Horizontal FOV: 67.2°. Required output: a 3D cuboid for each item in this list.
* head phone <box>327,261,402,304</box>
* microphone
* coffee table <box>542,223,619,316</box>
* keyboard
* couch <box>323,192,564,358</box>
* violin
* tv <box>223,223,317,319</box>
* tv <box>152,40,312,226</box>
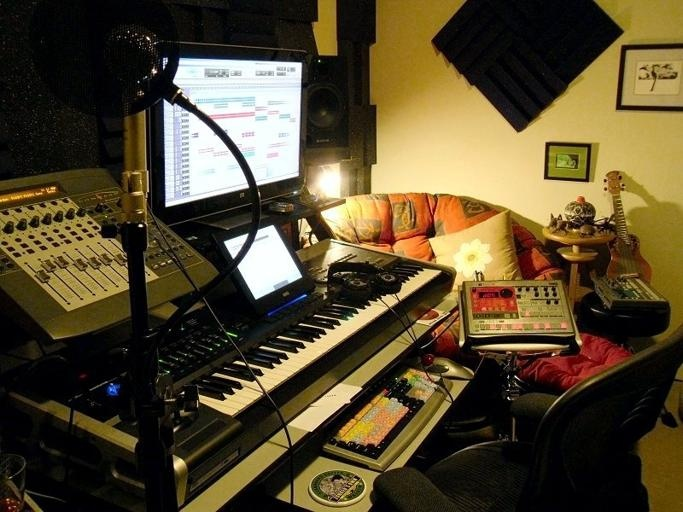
[{"bbox_3d":[0.067,0.088,1.972,0.255,0.081,0.301,-18,30,-34],"label":"head phone"},{"bbox_3d":[-0.367,-0.245,0.905,0.094,0.352,0.107,7,29,-6],"label":"microphone"},{"bbox_3d":[1.572,0.013,3.399,0.409,0.590,0.403,12,22,29],"label":"coffee table"},{"bbox_3d":[0.183,0.538,1.758,0.239,0.083,0.532,10,25,40],"label":"keyboard"},{"bbox_3d":[0.632,0.079,3.514,1.640,0.933,1.080,4,18,5],"label":"couch"},{"bbox_3d":[1.836,-0.173,3.292,0.312,0.726,0.437,3,20,26],"label":"violin"},{"bbox_3d":[-0.269,0.052,1.751,0.209,0.292,0.285,17,22,34],"label":"tv"},{"bbox_3d":[-0.373,-0.435,1.802,0.059,0.563,0.826,14,22,26],"label":"tv"}]
